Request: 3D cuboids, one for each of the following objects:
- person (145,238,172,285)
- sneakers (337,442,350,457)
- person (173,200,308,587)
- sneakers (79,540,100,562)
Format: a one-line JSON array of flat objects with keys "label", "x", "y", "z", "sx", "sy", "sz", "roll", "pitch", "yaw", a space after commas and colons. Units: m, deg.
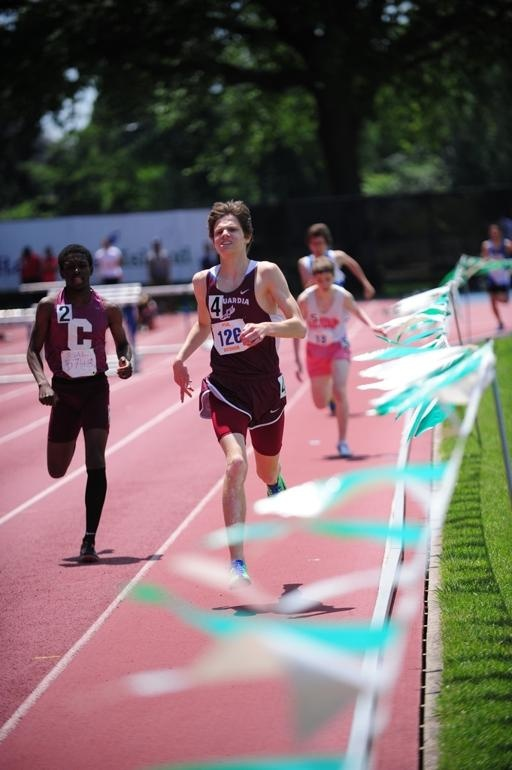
[{"label": "person", "x": -2.654, "y": -3.342, "z": 19.629, "sx": 0.478, "sy": 1.233, "sz": 0.853, "roll": -10, "pitch": 6, "yaw": -24}, {"label": "sneakers", "x": 0.810, "y": 0.588, "z": 6.553, "sx": 0.088, "sy": 0.147, "sz": 0.154, "roll": -9, "pitch": 8, "yaw": 4}, {"label": "person", "x": -0.076, "y": -0.144, "z": 3.604, "sx": 0.597, "sy": 1.616, "sz": 0.724, "roll": -9, "pitch": 5, "yaw": -19}, {"label": "sneakers", "x": -0.995, "y": 0.993, "z": 4.283, "sx": 0.078, "sy": 0.072, "sz": 0.179, "roll": 0, "pitch": -20, "yaw": 0}]
